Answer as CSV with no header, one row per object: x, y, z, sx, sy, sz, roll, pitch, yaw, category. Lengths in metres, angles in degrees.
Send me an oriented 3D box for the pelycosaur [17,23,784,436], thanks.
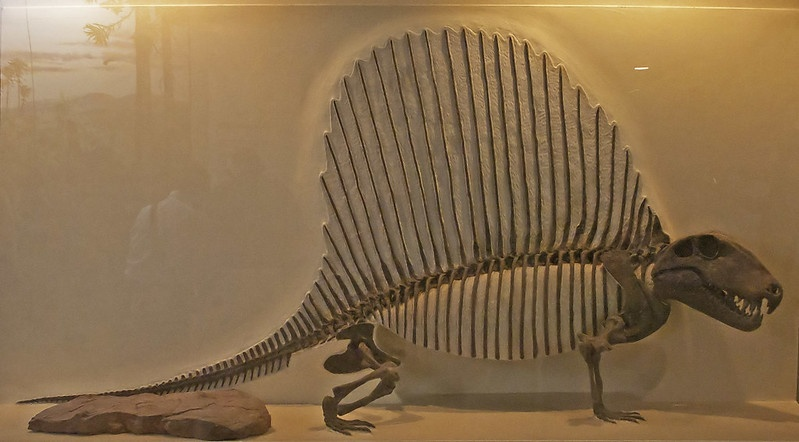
0.401,0.001,5.004,2.215,1.419,1.115,2,35,8,pelycosaur
